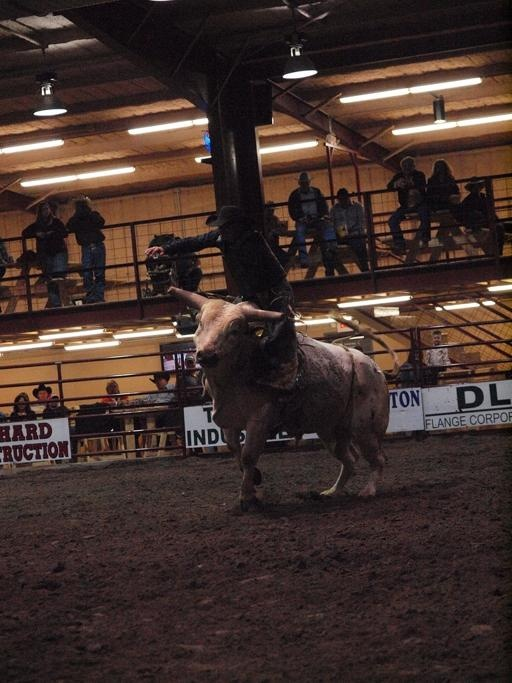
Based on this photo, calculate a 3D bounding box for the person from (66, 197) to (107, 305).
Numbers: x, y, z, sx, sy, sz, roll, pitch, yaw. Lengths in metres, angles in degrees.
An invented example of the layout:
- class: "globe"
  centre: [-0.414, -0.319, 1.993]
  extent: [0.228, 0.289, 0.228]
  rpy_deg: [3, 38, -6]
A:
- class: "person"
  centre: [-3.522, -1.932, 16.917]
  extent: [0.774, 2.210, 1.406]
  rpy_deg: [-7, -4, -11]

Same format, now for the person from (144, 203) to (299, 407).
- class: "person"
  centre: [-0.138, -0.350, 7.082]
  extent: [0.898, 1.118, 0.651]
  rpy_deg: [-7, -4, 2]

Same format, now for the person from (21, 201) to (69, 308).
- class: "person"
  centre: [-4.480, -1.902, 17.355]
  extent: [0.868, 2.351, 1.108]
  rpy_deg: [-7, -4, -14]

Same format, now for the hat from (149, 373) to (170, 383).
- class: "hat"
  centre: [-1.983, 0.740, 16.504]
  extent: [0.544, 0.167, 0.528]
  rpy_deg: [-1, 1, -2]

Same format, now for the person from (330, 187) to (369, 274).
- class: "person"
  centre: [1.869, -2.217, 15.922]
  extent: [0.644, 1.269, 1.061]
  rpy_deg: [-8, -4, 6]

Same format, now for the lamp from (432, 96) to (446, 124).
- class: "lamp"
  centre: [4.053, -5.194, 17.812]
  extent: [0.263, 0.501, 0.399]
  rpy_deg: [-8, -4, 13]
